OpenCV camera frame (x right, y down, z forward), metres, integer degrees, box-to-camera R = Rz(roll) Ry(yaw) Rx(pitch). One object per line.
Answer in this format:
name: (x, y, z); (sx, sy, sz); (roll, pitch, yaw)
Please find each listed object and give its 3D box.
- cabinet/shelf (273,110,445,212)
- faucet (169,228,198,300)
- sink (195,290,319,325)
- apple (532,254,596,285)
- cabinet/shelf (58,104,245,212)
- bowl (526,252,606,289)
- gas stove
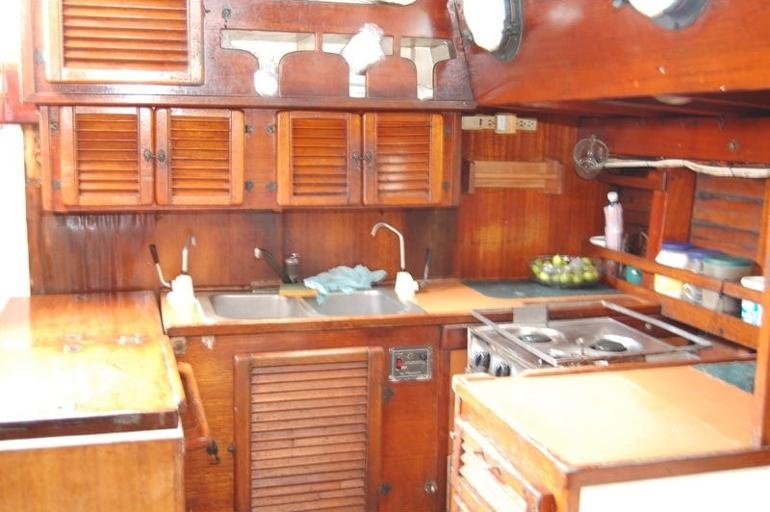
cabinet/shelf: (0.040, -0.544, 3.511); (0.593, 1.155, 0.519); (-13, -74, -55)
faucet: (-1.054, 0.072, 3.278); (0.141, 0.397, 0.292); (1, -56, -28)
sink: (-0.690, 0.279, 3.322); (0.351, 0.249, 0.112); (1, -83, -15)
apple: (1.034, 0.086, 3.546); (0.267, 0.226, 0.078); (-3, -83, -10)
cabinet/shelf: (-1.097, -0.490, 3.164); (1.082, 0.320, 0.514); (4, -82, 17)
bowl: (1.042, 0.065, 3.551); (0.296, 0.250, 0.091); (-4, -82, -16)
gas stove: (0.789, 0.378, 2.628); (0.510, 0.440, 0.155); (-1, -84, -13)
